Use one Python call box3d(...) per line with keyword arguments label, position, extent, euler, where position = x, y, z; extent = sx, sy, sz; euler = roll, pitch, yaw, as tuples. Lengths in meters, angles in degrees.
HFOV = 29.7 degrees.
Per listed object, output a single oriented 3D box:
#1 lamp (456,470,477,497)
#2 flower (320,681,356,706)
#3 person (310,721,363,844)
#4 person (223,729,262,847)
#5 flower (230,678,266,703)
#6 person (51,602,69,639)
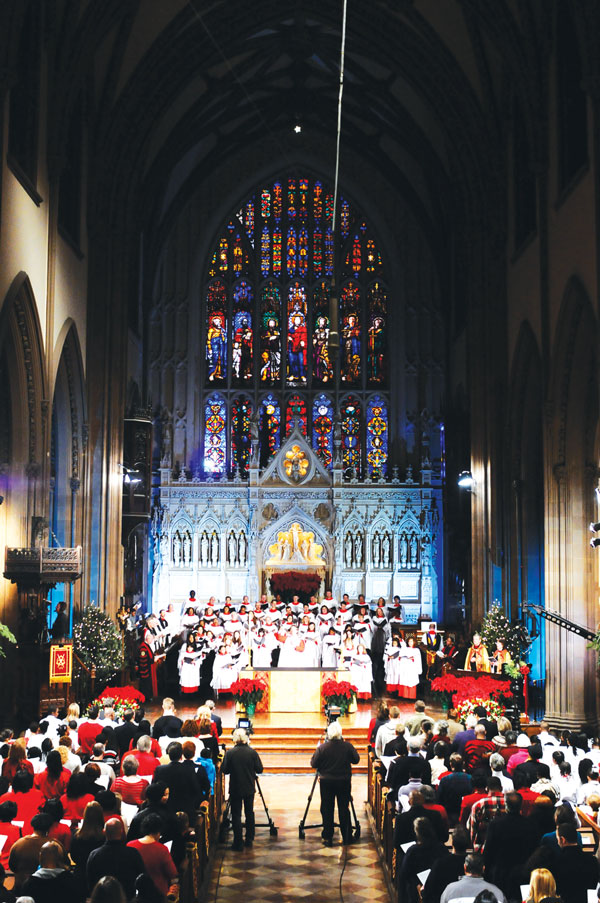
box3d(label="lamp", position=(3.979, 0.715, 26.734), extent=(0.432, 0.636, 0.633), euler=(3, -40, 9))
box3d(label="flower", position=(0.669, 4.211, 19.755), extent=(0.563, 0.622, 0.546), euler=(3, -15, -5))
box3d(label="person", position=(0.373, 3.751, 12.779), extent=(0.499, 1.410, 1.004), euler=(2, -9, 1))
box3d(label="person", position=(-0.692, 3.833, 12.964), extent=(0.419, 1.357, 1.334), euler=(2, -9, -3))
box3d(label="flower", position=(-0.914, 4.083, 19.630), extent=(0.435, 0.359, 0.461), euler=(2, -4, -14))
box3d(label="person", position=(-4.577, 3.178, 21.508), extent=(0.339, 0.664, 1.313), euler=(4, -10, -12))
